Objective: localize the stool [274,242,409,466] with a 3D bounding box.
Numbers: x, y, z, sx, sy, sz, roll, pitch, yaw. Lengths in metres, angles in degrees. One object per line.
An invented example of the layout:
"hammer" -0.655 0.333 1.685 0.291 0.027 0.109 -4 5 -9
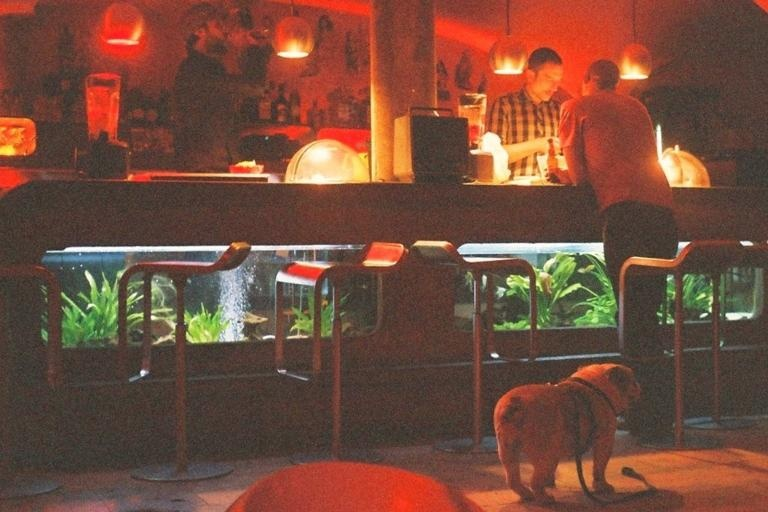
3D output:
"stool" -0.278 0.544 5.255 0.732 1.290 0.706 -3 14 -13

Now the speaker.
"speaker" 0.343 -0.732 5.780 0.483 0.429 0.473 0 4 -16

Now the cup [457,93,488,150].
"cup" 0.601 -0.976 6.215 0.302 0.344 0.304 1 17 0

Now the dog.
"dog" 1.002 0.937 4.829 0.958 0.725 0.462 4 -8 -42

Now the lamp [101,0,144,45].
"lamp" -2.149 -1.934 7.401 0.381 0.365 0.372 -19 32 -41

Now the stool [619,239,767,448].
"stool" 1.903 0.500 5.514 0.940 1.313 0.605 -3 14 -12

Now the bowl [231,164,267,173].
"bowl" -1.003 -0.633 6.416 0.310 0.065 0.132 9 16 32
